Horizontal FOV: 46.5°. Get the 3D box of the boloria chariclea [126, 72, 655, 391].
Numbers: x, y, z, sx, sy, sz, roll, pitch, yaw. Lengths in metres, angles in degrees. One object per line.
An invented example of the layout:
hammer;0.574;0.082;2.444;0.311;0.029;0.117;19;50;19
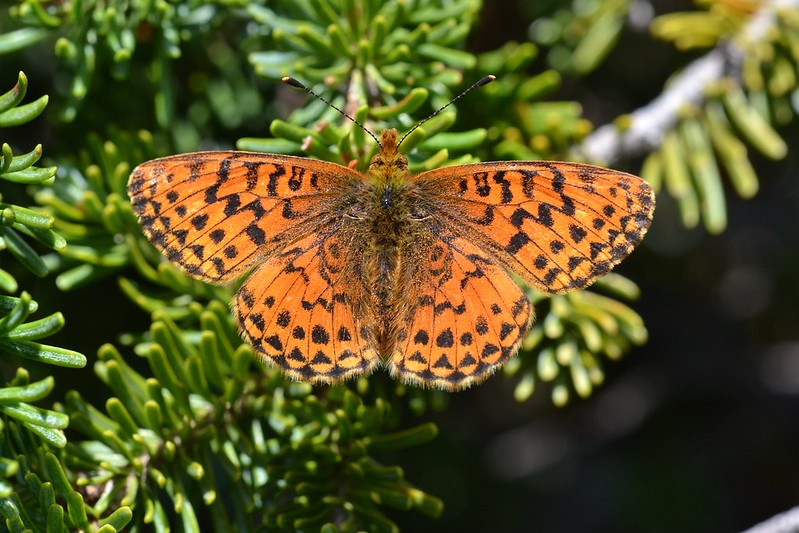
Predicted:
boloria chariclea;-0.054;-0.032;3.674;1.959;0.679;0.875;2;69;-3
